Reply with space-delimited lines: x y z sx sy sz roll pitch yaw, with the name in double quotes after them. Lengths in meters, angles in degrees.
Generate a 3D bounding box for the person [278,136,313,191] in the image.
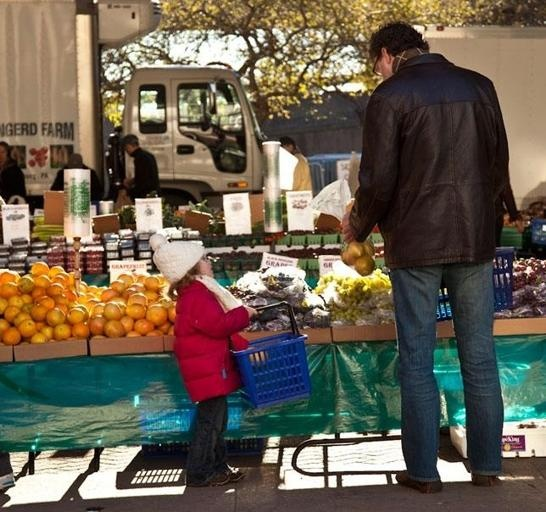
0.318 -1.370 9.397 0.422 0.735 1.141 -3 0 2 "person"

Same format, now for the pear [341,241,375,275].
0.478 0.011 3.438 0.149 0.095 0.208 6 -16 36 "pear"

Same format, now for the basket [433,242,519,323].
1.120 0.152 3.622 0.535 0.296 0.357 -9 -4 -2 "basket"

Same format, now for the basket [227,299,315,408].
0.068 0.477 3.330 0.403 0.502 0.546 -17 -2 -10 "basket"

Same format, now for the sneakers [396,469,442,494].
0.678 1.043 3.011 0.079 0.086 0.214 -11 14 -25 "sneakers"

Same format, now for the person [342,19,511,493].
0.720 0.002 2.904 0.724 1.977 0.401 -3 -1 9 "person"

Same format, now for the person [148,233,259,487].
-0.346 0.514 3.166 0.520 0.991 0.320 -3 -1 3 "person"
